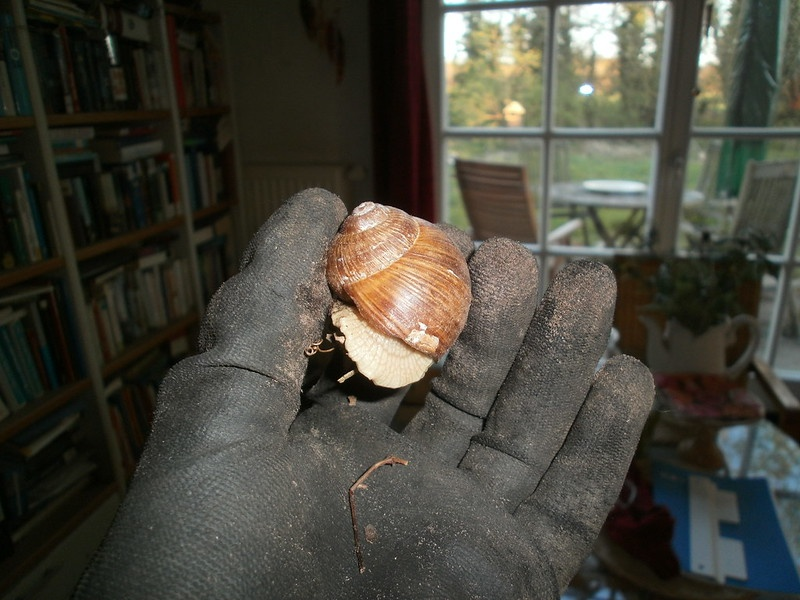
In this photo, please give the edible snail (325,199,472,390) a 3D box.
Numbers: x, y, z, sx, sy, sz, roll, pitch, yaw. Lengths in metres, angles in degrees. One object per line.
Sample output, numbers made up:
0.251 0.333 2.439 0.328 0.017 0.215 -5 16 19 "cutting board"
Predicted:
-0.011 -0.031 1.171 0.287 0.297 0.369 -1 18 2 "edible snail"
